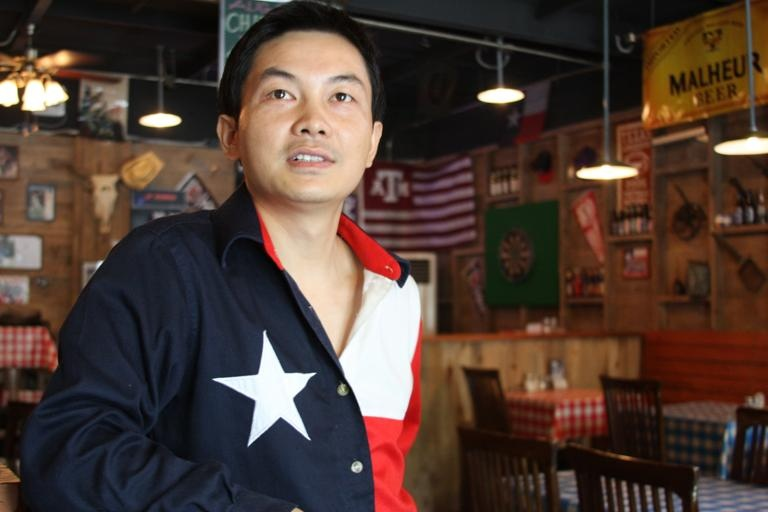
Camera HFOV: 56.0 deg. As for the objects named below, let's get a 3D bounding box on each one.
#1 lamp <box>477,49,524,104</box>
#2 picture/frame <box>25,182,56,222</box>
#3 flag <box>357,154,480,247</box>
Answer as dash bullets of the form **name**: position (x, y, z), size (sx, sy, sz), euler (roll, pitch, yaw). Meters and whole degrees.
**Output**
- **lamp**: position (0.556, -0.879, 3.606), size (0.209, 0.245, 0.228), euler (0, -9, -3)
- **picture/frame**: position (-1.969, -0.312, 4.136), size (0.040, 0.180, 0.175), euler (-4, -8, 30)
- **flag**: position (0.191, -0.282, 3.546), size (0.471, 0.394, 0.049), euler (1, -2, 11)
